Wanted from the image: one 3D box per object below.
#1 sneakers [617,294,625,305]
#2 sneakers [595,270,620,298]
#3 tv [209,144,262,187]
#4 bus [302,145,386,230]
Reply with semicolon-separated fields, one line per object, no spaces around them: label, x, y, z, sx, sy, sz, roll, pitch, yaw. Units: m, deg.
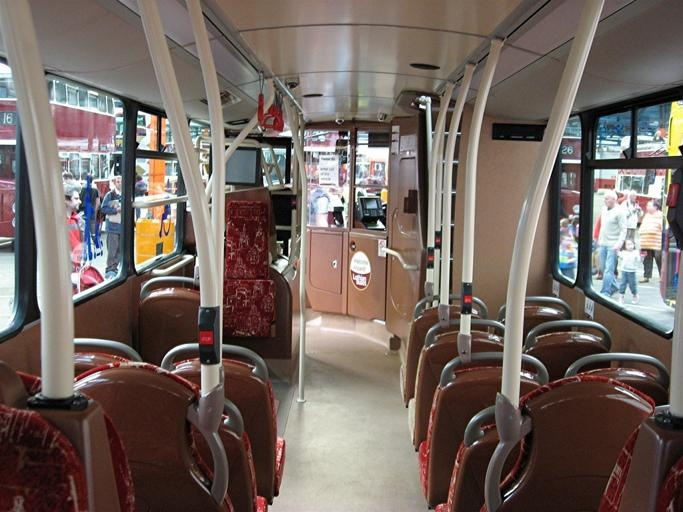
sneakers;2.463;0.395;4.444;0.046;0.134;0.061;-2;1;-8
sneakers;2.478;0.264;4.695;0.099;0.287;0.214;-6;10;-9
tv;-1.199;-1.073;6.113;0.429;0.484;0.268;1;7;-6
bus;0.075;-1.047;7.480;1.149;1.316;0.160;3;6;29
